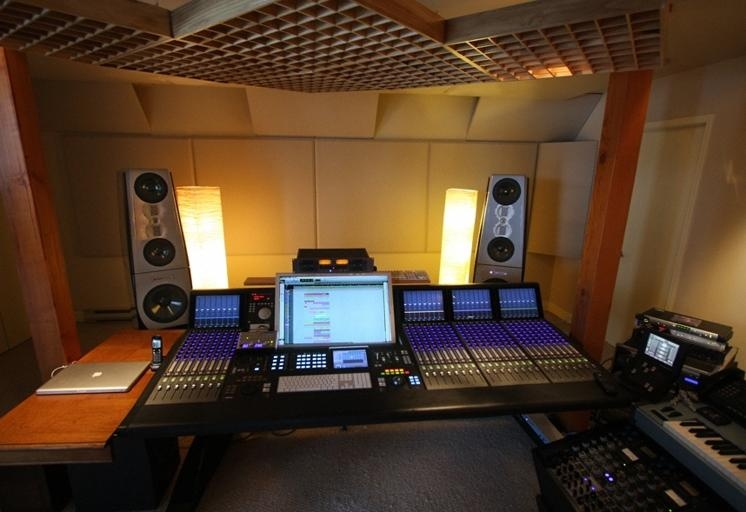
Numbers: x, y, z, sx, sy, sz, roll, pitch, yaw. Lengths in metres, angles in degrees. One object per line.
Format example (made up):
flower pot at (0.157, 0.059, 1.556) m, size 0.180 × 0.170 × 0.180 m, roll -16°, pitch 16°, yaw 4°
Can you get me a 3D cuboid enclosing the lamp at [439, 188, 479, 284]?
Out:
lamp at (0.781, -0.185, 4.928) m, size 0.337 × 0.293 × 1.105 m, roll -2°, pitch -41°, yaw 4°
